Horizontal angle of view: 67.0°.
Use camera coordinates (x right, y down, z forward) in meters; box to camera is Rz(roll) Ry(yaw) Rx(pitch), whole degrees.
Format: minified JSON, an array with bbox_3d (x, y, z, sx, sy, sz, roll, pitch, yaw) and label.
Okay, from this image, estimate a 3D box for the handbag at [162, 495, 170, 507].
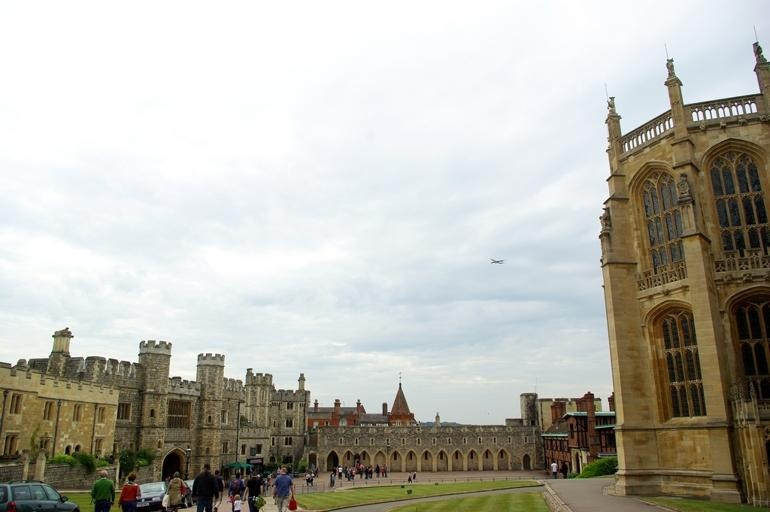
[{"bbox_3d":[-9.555,10.625,25.457,0.297,0.470,0.489,7,-22,-20],"label":"handbag"}]
